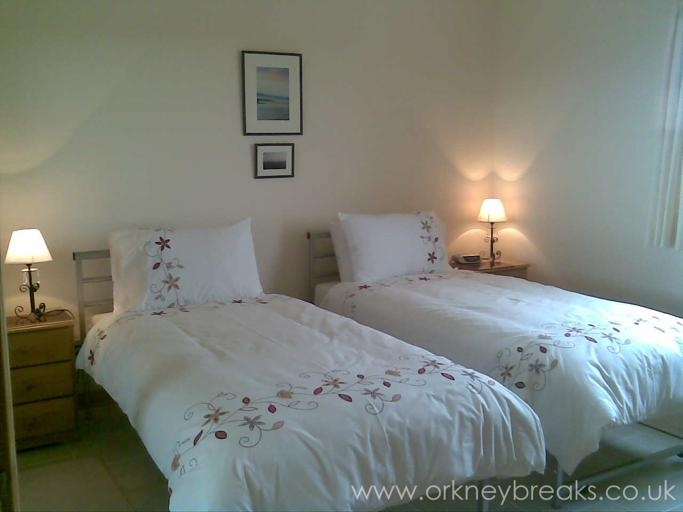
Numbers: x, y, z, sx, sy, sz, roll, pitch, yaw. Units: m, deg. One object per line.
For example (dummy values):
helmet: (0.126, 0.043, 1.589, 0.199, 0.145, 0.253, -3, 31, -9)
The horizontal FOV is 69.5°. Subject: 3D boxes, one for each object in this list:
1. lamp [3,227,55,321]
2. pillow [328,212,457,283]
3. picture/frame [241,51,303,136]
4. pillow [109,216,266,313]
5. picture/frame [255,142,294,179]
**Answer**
lamp: (-1.885, 0.093, 2.990, 0.244, 0.529, 0.307, -8, 14, -30)
pillow: (0.452, -0.077, 3.958, 0.863, 0.524, 0.317, -5, 3, -22)
picture/frame: (-0.543, -1.239, 3.696, 0.618, 0.798, 0.050, -2, 4, -32)
pillow: (-1.014, 0.059, 3.299, 0.929, 0.578, 0.279, -5, 0, -30)
picture/frame: (-0.513, -0.724, 3.767, 0.288, 0.258, 0.014, -5, 26, -17)
